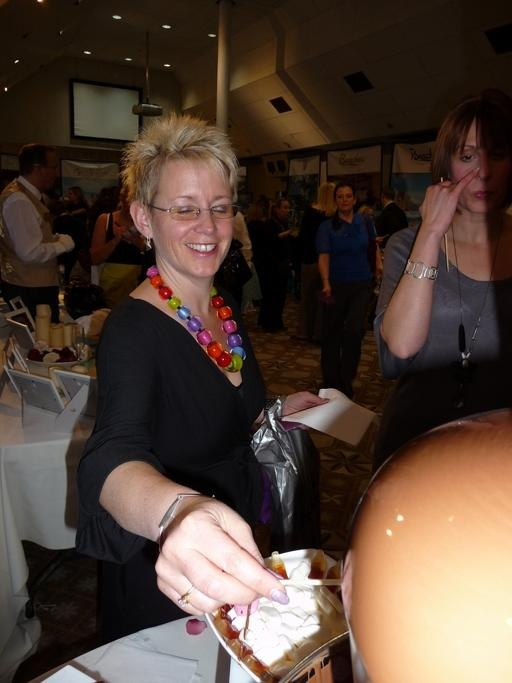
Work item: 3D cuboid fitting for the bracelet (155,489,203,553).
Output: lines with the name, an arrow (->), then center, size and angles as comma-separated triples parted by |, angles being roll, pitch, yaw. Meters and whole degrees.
bracelet -> -0.099, 0.206, 0.604 | 0.026, 0.064, 0.058 | 33, -12, -4

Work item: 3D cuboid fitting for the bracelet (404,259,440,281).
bracelet -> 0.378, -0.159, 1.157 | 0.061, 0.043, 0.057 | 9, -4, 38

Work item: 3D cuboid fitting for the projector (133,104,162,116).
projector -> -2.363, -4.956, 10.928 | 0.657, 0.209, 0.475 | 5, 21, 0

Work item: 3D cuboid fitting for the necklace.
necklace -> 0.505, -0.126, 1.197 | 0.106, 0.329, 0.019 | 10, -6, 10
